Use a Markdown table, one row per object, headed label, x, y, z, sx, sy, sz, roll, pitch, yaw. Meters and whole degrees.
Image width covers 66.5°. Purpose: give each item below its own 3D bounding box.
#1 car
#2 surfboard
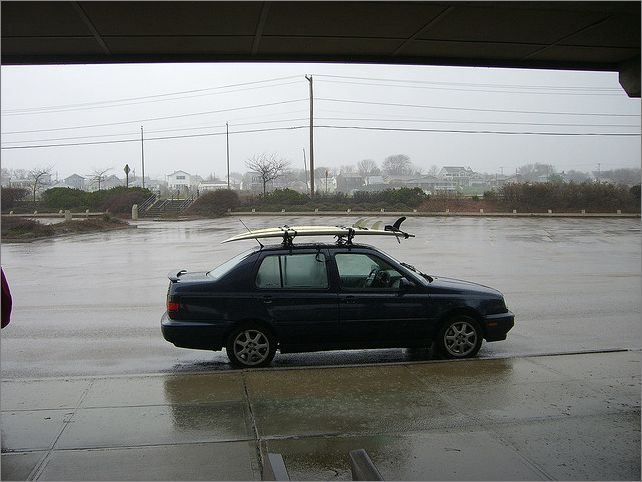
| label | x | y | z | sx | sy | sz | roll | pitch | yaw |
| --- | --- | --- | --- | --- | --- | --- | --- | --- | --- |
| car | 0.170 | 1.065 | 8.328 | 5.070 | 1.842 | 2.206 | -2 | 2 | -4 |
| surfboard | 0.009 | -0.157 | 8.123 | 2.727 | 0.290 | 0.808 | -1 | 6 | -10 |
